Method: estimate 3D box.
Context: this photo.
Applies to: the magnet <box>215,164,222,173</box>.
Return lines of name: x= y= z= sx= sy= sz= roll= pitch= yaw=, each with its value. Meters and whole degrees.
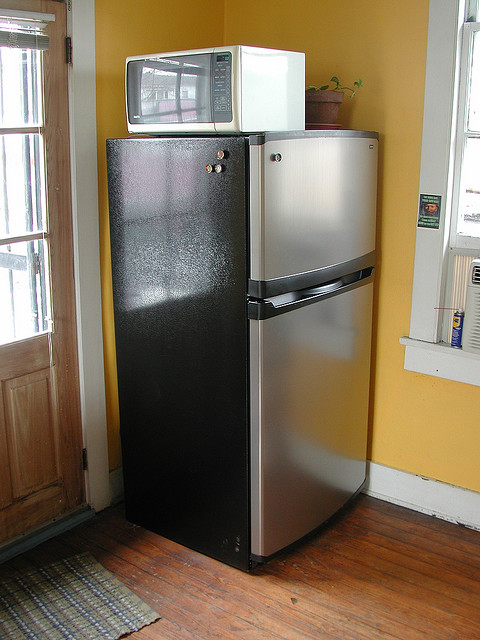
magnet: x=-0.057 y=-0.406 z=1.430 sx=0.026 sy=0.020 sz=0.006 roll=9 pitch=11 yaw=43

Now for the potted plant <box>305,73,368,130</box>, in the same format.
potted plant: x=0.322 y=-0.755 z=1.847 sx=0.207 sy=0.189 sz=0.144 roll=19 pitch=20 yaw=40

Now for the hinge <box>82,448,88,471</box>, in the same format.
hinge: x=-0.594 y=0.534 z=2.038 sx=0.017 sy=0.080 sz=0.007 roll=0 pitch=8 yaw=-1

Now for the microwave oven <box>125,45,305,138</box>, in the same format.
microwave oven: x=-0.061 y=-0.624 z=1.468 sx=0.314 sy=0.169 sz=0.220 roll=13 pitch=18 yaw=43

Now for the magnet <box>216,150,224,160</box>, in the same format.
magnet: x=-0.053 y=-0.437 z=1.409 sx=0.005 sy=0.021 sz=0.020 roll=-5 pitch=6 yaw=-34

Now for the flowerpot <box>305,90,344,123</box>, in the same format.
flowerpot: x=0.287 y=-0.713 z=1.825 sx=0.115 sy=0.086 sz=0.119 roll=1 pitch=16 yaw=5

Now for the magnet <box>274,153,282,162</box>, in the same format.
magnet: x=0.100 y=-0.419 z=1.379 sx=0.006 sy=0.021 sz=0.020 roll=3 pitch=6 yaw=18

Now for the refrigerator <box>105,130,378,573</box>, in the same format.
refrigerator: x=0.010 y=0.076 z=1.935 sx=0.743 sy=1.449 sz=0.776 roll=7 pitch=10 yaw=39

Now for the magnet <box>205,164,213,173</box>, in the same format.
magnet: x=-0.084 y=-0.412 z=1.452 sx=0.009 sy=0.022 sz=0.030 roll=-6 pitch=11 yaw=-40
